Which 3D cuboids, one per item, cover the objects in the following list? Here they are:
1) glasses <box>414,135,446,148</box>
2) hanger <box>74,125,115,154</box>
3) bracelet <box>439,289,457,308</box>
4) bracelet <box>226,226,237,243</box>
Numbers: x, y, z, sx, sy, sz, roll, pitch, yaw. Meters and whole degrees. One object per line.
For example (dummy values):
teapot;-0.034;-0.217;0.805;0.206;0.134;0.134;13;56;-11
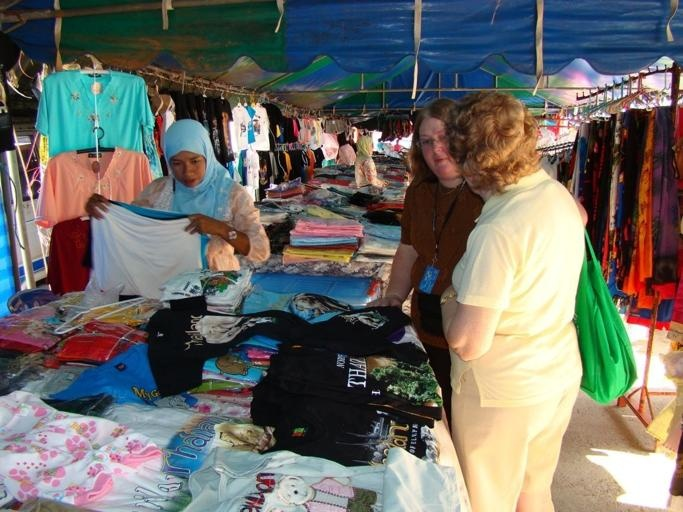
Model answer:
glasses;0.463;-0.559;2.225;0.098;0.030;0.100;-3;-5;37
hanger;-1.618;-0.765;2.974;0.285;0.154;0.010;-3;11;-22
bracelet;0.438;0.171;1.829;0.019;0.064;0.061;34;11;-15
bracelet;-0.623;-0.120;2.612;0.053;0.055;0.021;-10;8;-18
